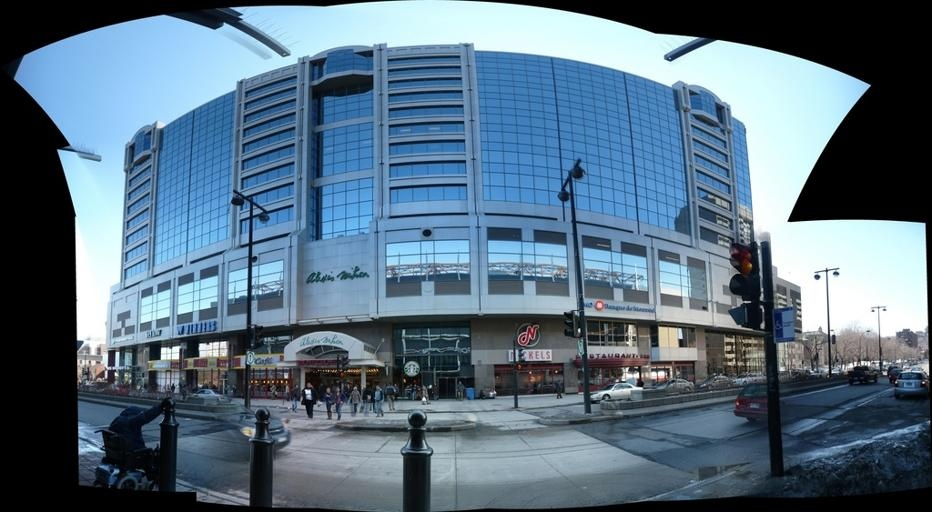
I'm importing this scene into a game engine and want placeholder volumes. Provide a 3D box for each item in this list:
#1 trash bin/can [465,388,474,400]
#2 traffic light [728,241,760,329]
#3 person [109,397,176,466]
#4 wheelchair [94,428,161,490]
[{"bbox_3d":[0.221,6.405,32.000,0.365,0.439,0.335,0,0,2],"label":"trash bin/can"},{"bbox_3d":[5.510,0.561,13.205,0.735,1.695,0.432,-2,-14,0],"label":"traffic light"},{"bbox_3d":[-6.219,3.264,13.126,1.250,1.573,0.743,0,-4,-3],"label":"person"},{"bbox_3d":[-6.439,3.891,13.155,1.032,1.212,1.372,0,-2,41],"label":"wheelchair"}]
